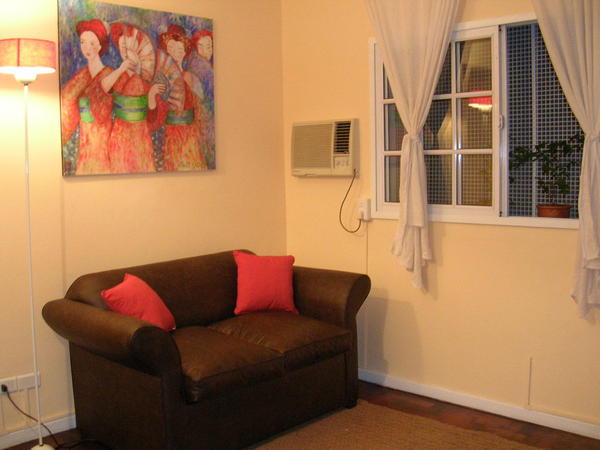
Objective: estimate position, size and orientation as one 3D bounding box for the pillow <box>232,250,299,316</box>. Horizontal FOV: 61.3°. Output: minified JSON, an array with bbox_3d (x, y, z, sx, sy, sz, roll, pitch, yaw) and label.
[{"bbox_3d":[-0.257,0.465,3.859,0.411,0.439,0.151,0,-15,-9],"label":"pillow"}]

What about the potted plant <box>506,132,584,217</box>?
[{"bbox_3d":[1.702,-0.358,3.491,0.497,0.570,0.247,5,11,37],"label":"potted plant"}]

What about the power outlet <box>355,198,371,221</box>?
[{"bbox_3d":[0.525,-0.127,4.111,0.146,0.228,0.068,7,10,43],"label":"power outlet"}]
